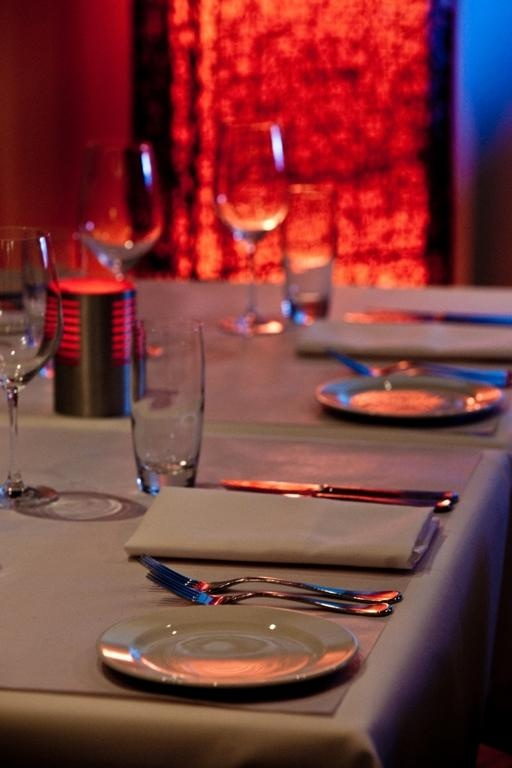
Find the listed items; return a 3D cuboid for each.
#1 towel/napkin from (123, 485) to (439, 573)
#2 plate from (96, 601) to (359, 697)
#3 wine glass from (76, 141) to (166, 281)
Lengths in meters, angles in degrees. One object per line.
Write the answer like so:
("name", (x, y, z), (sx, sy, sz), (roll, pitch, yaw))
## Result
("towel/napkin", (0.016, 0.103, 0.529), (0.141, 0.019, 0.080), (2, 14, 11))
("plate", (-0.014, 0.127, 0.365), (0.125, 0.015, 0.092), (-1, 9, 5))
("wine glass", (-0.261, -0.338, 1.420), (0.161, 0.265, 0.195), (-4, 10, -11))
